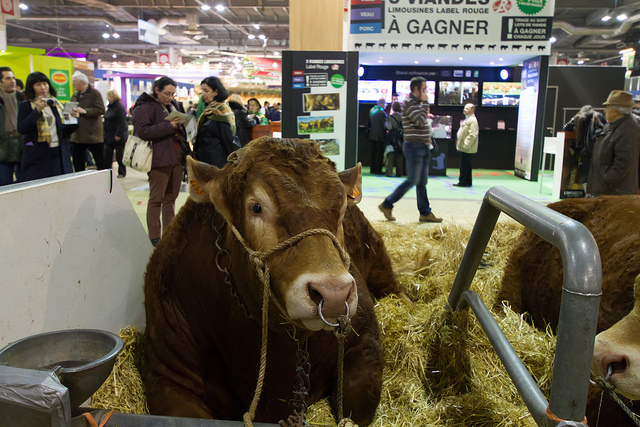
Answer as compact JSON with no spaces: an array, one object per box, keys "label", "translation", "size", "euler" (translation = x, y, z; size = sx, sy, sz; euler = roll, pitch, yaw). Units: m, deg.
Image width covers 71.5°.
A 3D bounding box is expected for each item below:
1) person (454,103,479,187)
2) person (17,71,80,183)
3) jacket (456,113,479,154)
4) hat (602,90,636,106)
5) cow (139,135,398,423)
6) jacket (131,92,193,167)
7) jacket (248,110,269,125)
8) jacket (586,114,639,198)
[{"label":"person","translation":[3.553,-1.621,10.735],"size":[0.463,2.084,0.946],"euler":[3,13,17]},{"label":"person","translation":[-3.608,-1.153,5.845],"size":[0.676,1.424,0.542],"euler":[-10,15,-37]},{"label":"jacket","translation":[3.539,-1.925,10.621],"size":[0.461,0.967,0.907],"euler":[4,13,12]},{"label":"hat","translation":[4.558,-1.720,6.636],"size":[0.337,0.143,0.256],"euler":[1,6,-31]},{"label":"cow","translation":[-0.359,0.363,2.373],"size":[0.938,0.837,1.818],"euler":[-1,8,-8]},{"label":"jacket","translation":[-1.974,-0.897,5.335],"size":[0.425,0.716,0.541],"euler":[15,-9,-39]},{"label":"jacket","translation":[-1.784,-2.846,12.722],"size":[0.376,0.716,1.359],"euler":[-7,16,-10]},{"label":"jacket","translation":[4.420,-0.822,6.644],"size":[0.613,1.321,0.643],"euler":[7,14,32]}]
